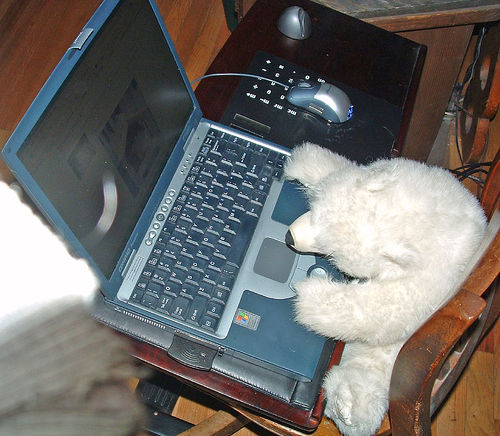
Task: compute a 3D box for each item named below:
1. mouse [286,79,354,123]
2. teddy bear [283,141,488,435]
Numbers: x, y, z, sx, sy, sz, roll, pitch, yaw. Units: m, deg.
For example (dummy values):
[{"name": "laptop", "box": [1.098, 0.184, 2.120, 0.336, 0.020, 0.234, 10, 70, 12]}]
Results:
[{"name": "mouse", "box": [0.138, -0.231, 0.905, 0.122, 0.044, 0.066, 25, 62, 5]}, {"name": "teddy bear", "box": [0.151, 0.170, 0.829, 0.307, 0.340, 0.553, -4, 72, 7]}]
